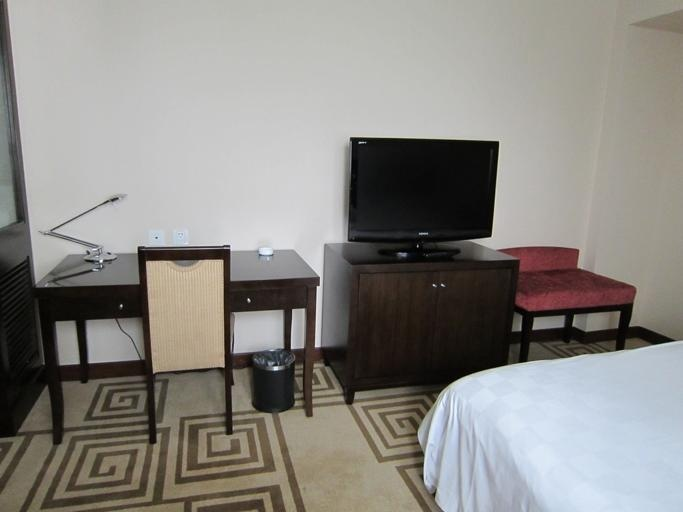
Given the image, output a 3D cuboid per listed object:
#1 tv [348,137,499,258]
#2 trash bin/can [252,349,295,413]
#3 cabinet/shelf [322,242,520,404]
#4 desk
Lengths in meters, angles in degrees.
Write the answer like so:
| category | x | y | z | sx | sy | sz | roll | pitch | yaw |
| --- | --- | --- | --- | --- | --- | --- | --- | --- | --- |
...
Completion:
| category | x | y | z | sx | sy | sz | roll | pitch | yaw |
| --- | --- | --- | --- | --- | --- | --- | --- | --- | --- |
| tv | 0.504 | -0.386 | 3.268 | 0.738 | 0.580 | 0.206 | -1 | 17 | -9 |
| trash bin/can | -0.393 | 0.741 | 3.146 | 0.301 | 0.335 | 0.310 | 1 | 14 | -5 |
| cabinet/shelf | 0.428 | 0.358 | 3.548 | 1.460 | 1.277 | 0.853 | -2 | 17 | -10 |
| desk | -0.986 | 0.612 | 3.263 | 1.757 | 1.132 | 0.984 | -1 | 24 | -10 |
